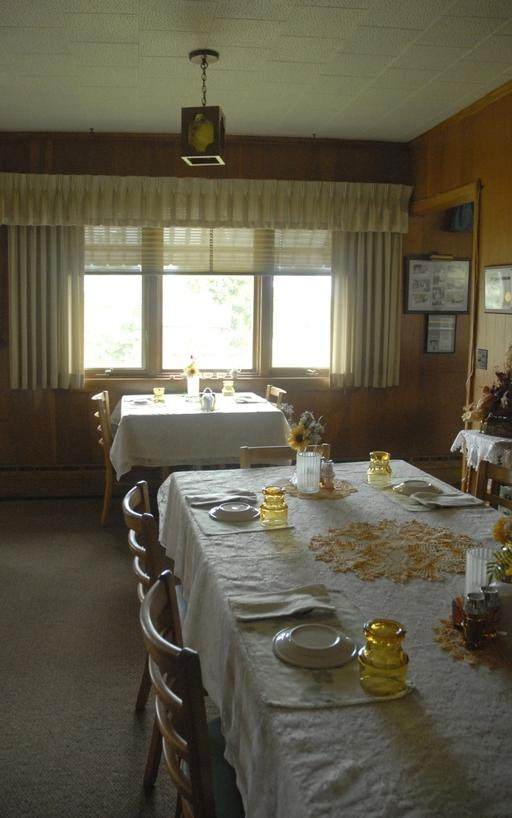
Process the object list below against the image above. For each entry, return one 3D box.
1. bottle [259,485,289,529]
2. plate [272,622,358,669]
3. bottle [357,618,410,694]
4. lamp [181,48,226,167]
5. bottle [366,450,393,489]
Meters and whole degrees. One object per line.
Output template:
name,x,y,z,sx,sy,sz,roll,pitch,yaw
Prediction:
bottle,0.055,0.302,1.862,0.094,0.148,0.102,0,3,0
plate,0.105,0.431,1.119,0.153,0.021,0.157,0,6,-3
bottle,0.201,0.399,1.013,0.082,0.135,0.092,-1,8,-5
lamp,-0.280,-1.595,3.236,0.236,0.559,0.246,2,2,34
bottle,0.513,0.244,2.446,0.110,0.138,0.120,-1,4,-9
